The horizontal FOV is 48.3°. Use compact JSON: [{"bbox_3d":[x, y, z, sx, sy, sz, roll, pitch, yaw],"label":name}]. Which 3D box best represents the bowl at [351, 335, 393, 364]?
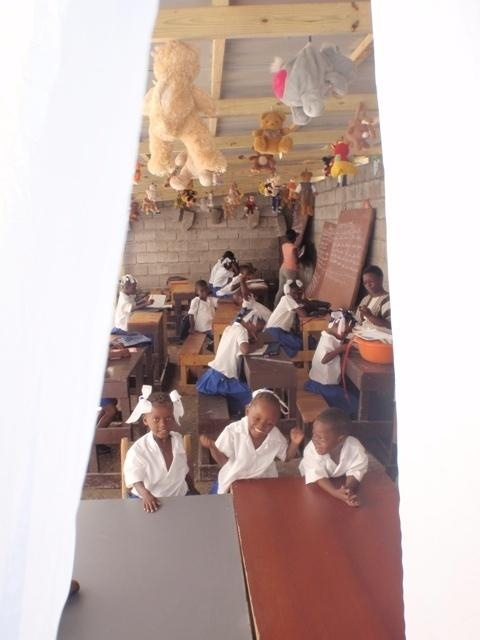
[{"bbox_3d":[0.689,0.157,2.789,0.182,0.080,0.156,-3,2,-3],"label":"bowl"}]

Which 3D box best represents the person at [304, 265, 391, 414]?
[{"bbox_3d":[0.691,0.138,3.429,0.380,0.680,1.060,0,7,5],"label":"person"}]
